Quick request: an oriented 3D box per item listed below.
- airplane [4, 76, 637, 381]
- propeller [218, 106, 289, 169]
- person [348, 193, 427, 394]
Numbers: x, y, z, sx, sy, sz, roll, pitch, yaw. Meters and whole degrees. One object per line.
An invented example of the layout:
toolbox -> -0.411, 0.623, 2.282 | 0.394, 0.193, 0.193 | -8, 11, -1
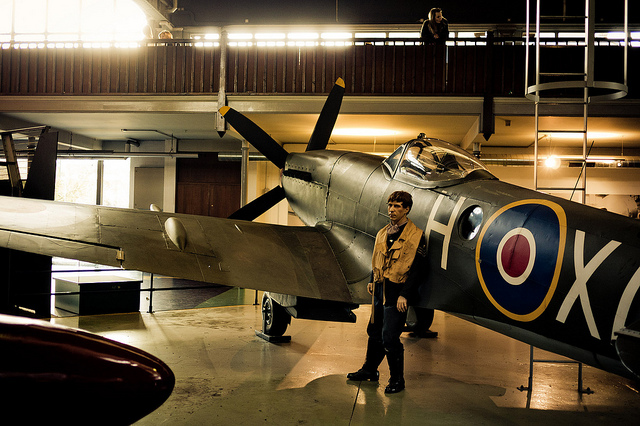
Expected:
airplane -> -0.241, -0.012, 8.642 | 8.235, 2.376, 3.792 | 4, 11, 13
propeller -> -1.368, -1.636, 12.722 | 1.928, 0.282, 0.198 | 44, -2, 14
person -> 0.888, 1.027, 7.534 | 0.382, 2.576, 0.797 | -9, 15, -42
